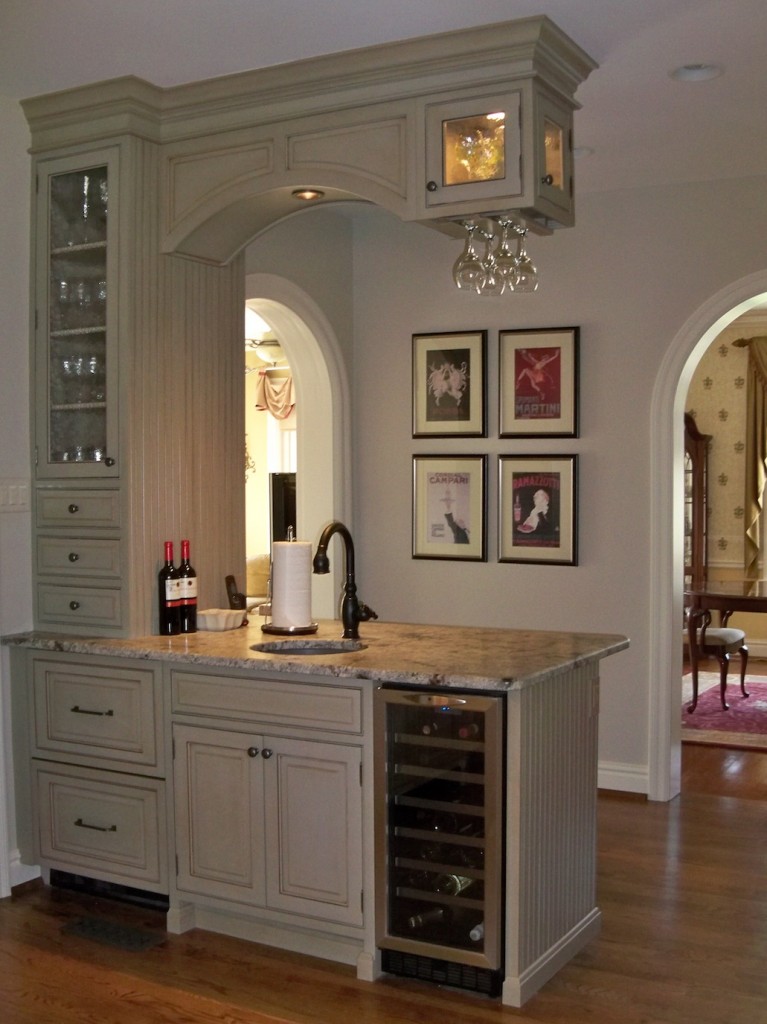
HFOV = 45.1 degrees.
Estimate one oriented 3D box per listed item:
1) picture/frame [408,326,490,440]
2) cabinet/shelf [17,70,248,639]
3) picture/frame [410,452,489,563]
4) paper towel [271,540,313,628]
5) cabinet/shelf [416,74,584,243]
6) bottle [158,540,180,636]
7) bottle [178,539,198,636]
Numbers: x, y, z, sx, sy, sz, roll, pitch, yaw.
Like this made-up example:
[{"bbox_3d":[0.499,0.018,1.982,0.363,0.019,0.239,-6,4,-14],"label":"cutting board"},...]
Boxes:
[{"bbox_3d":[0.361,-0.681,4.833,0.623,0.784,0.038,2,3,32],"label":"picture/frame"},{"bbox_3d":[-0.870,-0.493,3.213,0.746,1.821,0.623,0,-3,-9],"label":"cabinet/shelf"},{"bbox_3d":[0.364,-0.033,4.841,0.605,0.759,0.036,0,0,35],"label":"picture/frame"},{"bbox_3d":[-0.301,0.238,3.016,0.128,0.278,0.237,0,-3,-7],"label":"paper towel"},{"bbox_3d":[0.310,-0.955,2.532,0.396,0.410,0.372,-2,-4,19],"label":"cabinet/shelf"},{"bbox_3d":[-0.729,0.258,3.143,0.077,0.313,0.125,1,-4,-21],"label":"bottle"},{"bbox_3d":[-0.671,0.257,3.174,0.059,0.315,0.114,0,-3,-13],"label":"bottle"}]
